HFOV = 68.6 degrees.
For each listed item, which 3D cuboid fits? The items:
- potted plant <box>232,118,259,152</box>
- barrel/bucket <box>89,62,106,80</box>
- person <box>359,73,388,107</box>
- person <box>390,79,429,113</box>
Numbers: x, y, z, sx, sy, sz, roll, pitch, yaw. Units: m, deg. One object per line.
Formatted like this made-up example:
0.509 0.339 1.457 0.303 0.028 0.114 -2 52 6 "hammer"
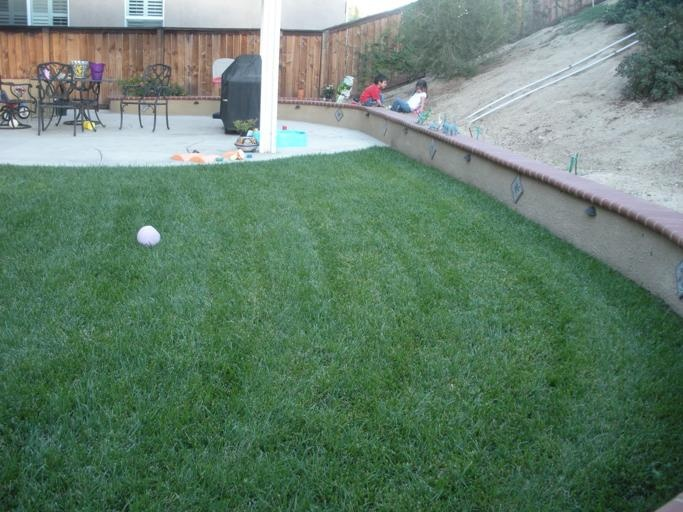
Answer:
-1.528 -1.923 8.065 0.531 0.439 0.970 -2 22 -8 "potted plant"
-4.726 -3.583 9.703 0.235 0.298 0.408 -13 25 -30 "barrel/bucket"
0.709 -3.614 11.088 0.500 0.845 0.590 8 9 0 "person"
1.357 -3.192 10.080 0.610 0.577 1.490 4 23 12 "person"
